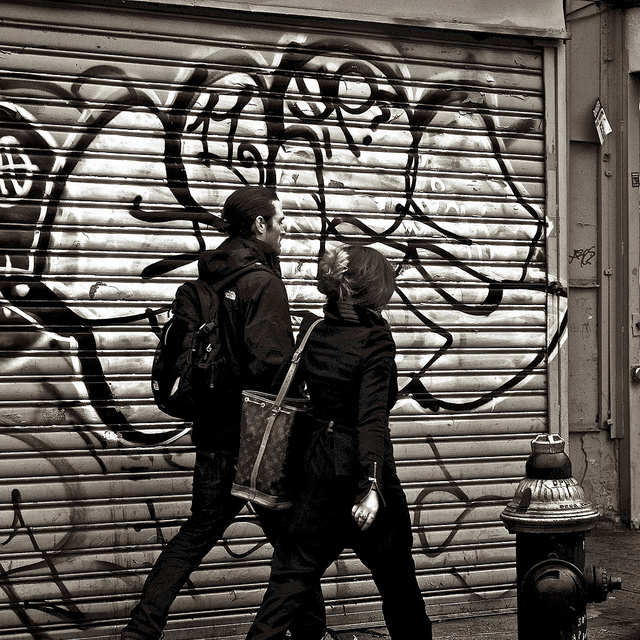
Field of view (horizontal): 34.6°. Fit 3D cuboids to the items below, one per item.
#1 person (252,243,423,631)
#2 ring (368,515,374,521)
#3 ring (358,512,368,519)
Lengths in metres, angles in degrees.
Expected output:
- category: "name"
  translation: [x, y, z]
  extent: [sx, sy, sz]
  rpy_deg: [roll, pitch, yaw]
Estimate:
- category: "person"
  translation: [0.117, 0.555, 4.958]
  extent: [0.697, 1.871, 0.471]
  rpy_deg: [1, -3, 23]
- category: "ring"
  translation: [0.232, 0.899, 4.660]
  extent: [0.017, 0.017, 0.018]
  rpy_deg: [-1, 0, 0]
- category: "ring"
  translation: [0.197, 0.886, 4.655]
  extent: [0.037, 0.028, 0.007]
  rpy_deg: [2, -3, 1]
